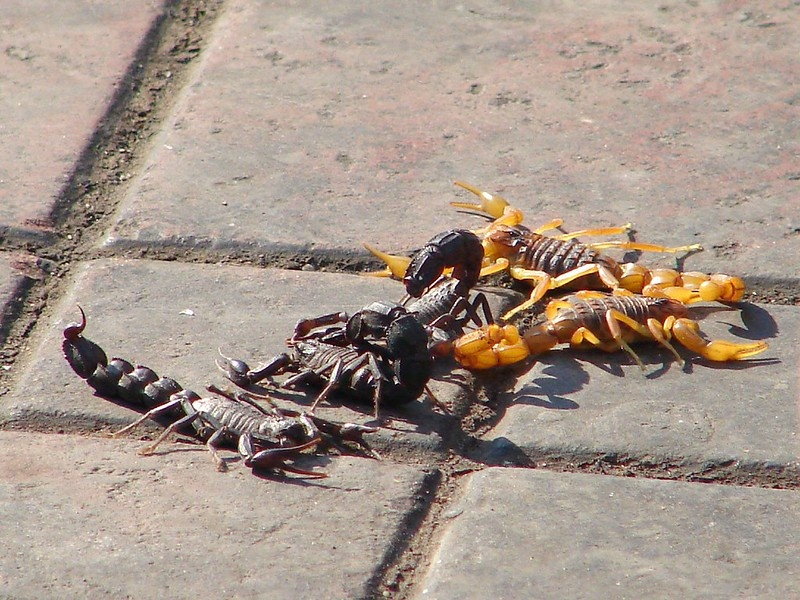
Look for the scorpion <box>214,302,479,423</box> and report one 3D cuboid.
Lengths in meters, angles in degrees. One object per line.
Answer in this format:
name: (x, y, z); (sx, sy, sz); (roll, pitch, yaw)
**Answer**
scorpion: (-0.238, 0.200, 4.877); (0.595, 0.204, 0.391); (32, 56, 13)
